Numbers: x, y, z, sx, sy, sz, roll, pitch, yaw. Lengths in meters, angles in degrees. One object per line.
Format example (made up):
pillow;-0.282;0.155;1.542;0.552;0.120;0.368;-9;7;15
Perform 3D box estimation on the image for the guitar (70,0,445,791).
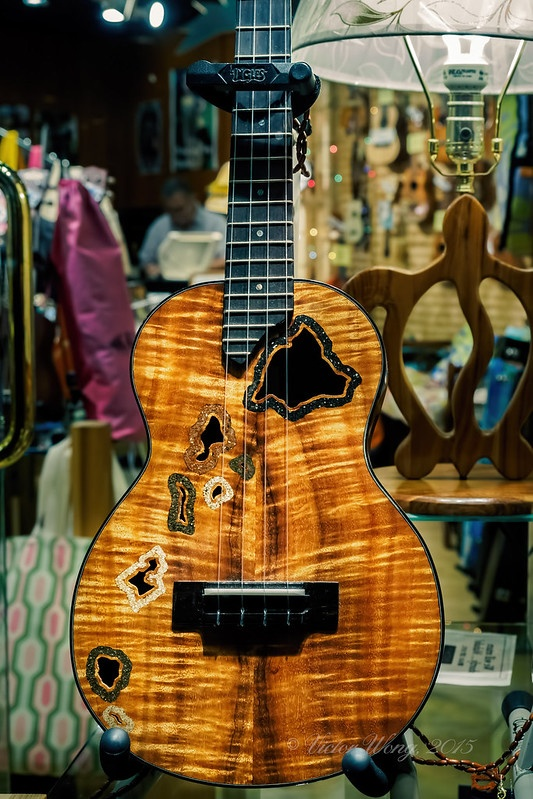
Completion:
guitar;0.007;0.009;1.136;0.390;0.725;0.335;3;9;11
